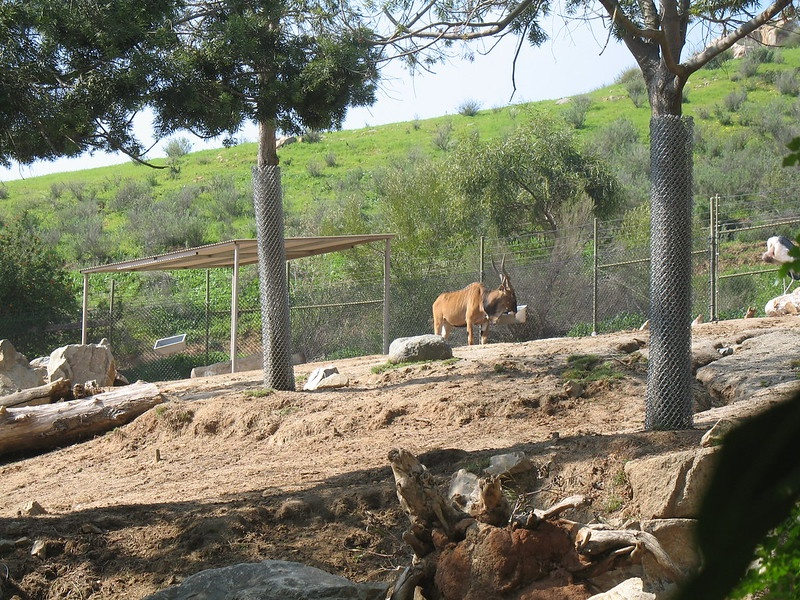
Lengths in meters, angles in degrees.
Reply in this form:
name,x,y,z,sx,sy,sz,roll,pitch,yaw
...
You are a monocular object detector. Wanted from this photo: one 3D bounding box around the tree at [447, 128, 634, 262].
name,x,y,z,sx,sy,sz,roll,pitch,yaw
tree,4.106,-3.358,53.917,3.666,3.853,3.929,3,16,-6
